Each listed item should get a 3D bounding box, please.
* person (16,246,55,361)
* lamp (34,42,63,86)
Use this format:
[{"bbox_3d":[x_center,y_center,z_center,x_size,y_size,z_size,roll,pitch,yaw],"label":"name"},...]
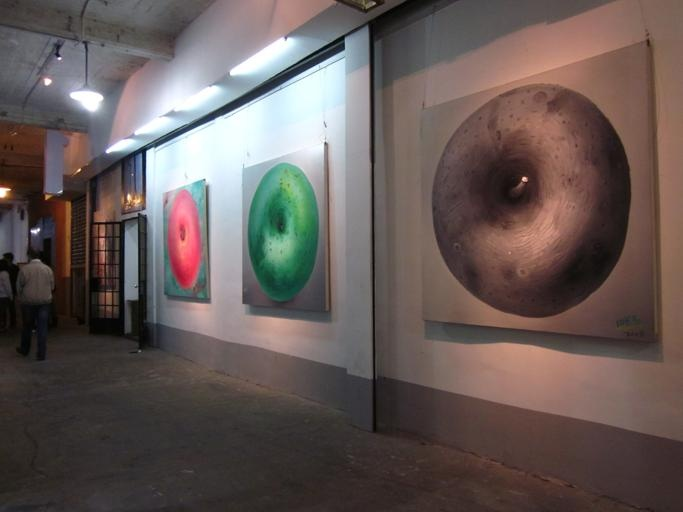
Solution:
[{"bbox_3d":[-4.835,0.711,7.627,0.496,1.729,0.504,2,3,-7],"label":"person"},{"bbox_3d":[-4.768,-3.168,7.891,0.587,0.174,0.119,-35,-44,24],"label":"lamp"}]
